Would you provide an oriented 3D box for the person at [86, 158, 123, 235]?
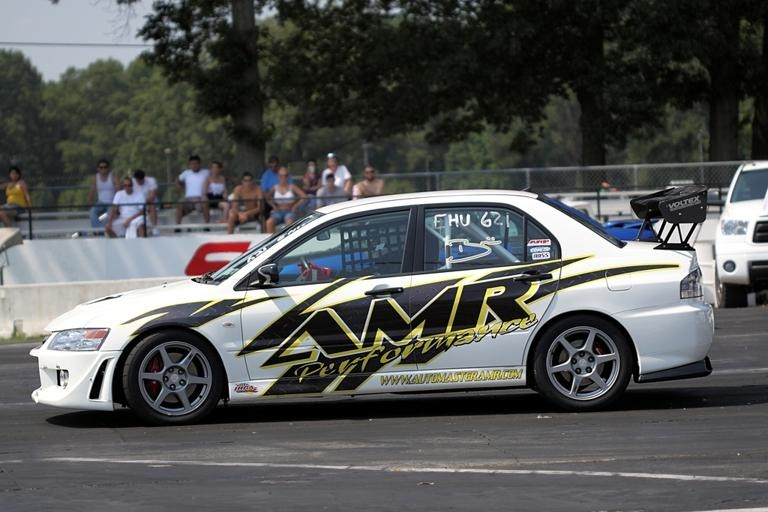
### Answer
[{"bbox_3d":[-6.765,-1.342,36.981,0.881,1.817,1.058,-3,17,6],"label":"person"}]
